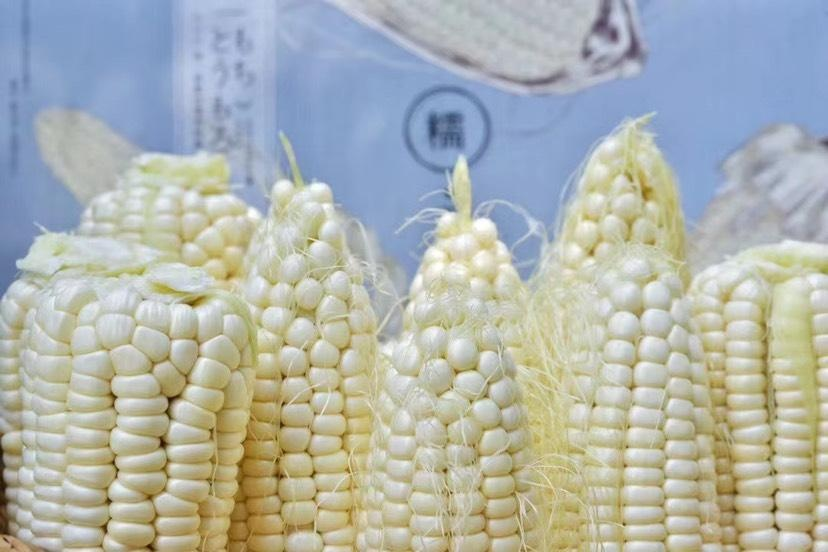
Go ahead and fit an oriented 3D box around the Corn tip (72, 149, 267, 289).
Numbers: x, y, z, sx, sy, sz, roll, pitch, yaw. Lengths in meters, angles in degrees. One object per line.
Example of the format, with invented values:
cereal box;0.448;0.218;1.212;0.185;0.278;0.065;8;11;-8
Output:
Corn tip;-0.493;-0.158;2.822;0.402;0.289;0.196;-1;-48;12
